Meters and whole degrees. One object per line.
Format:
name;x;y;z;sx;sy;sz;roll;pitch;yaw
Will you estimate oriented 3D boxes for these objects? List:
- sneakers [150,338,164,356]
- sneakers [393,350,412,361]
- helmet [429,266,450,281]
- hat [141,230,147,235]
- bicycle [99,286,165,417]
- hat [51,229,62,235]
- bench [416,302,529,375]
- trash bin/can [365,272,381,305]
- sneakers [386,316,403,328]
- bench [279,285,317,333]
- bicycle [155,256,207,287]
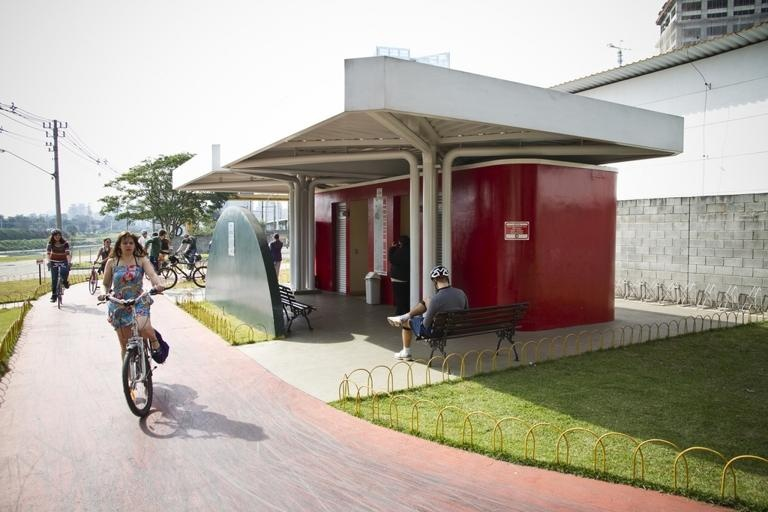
sneakers;-3.585;1.476;8.367;0.169;0.201;0.222;-6;-21;3
sneakers;0.358;1.930;10.240;0.336;0.159;0.156;6;3;31
helmet;1.077;0.320;10.038;0.290;0.354;0.368;-2;9;-10
hat;-8.884;-0.898;19.603;0.205;0.139;0.267;-6;-1;-32
bicycle;-3.687;1.413;7.908;0.651;1.826;0.965;-6;13;-28
hat;-9.597;-0.710;15.477;0.236;0.157;0.297;0;-2;-18
bench;1.742;1.519;10.272;2.224;1.118;0.799;-2;2;-31
trash bin/can;-0.319;1.021;16.362;0.425;0.927;0.523;0;12;-3
sneakers;0.203;1.334;10.414;0.271;0.202;0.621;11;-2;-2
bench;-2.353;1.181;13.386;0.594;0.824;1.858;-15;15;-22
bicycle;-8.098;0.396;21.700;2.592;1.243;1.573;7;3;-17
